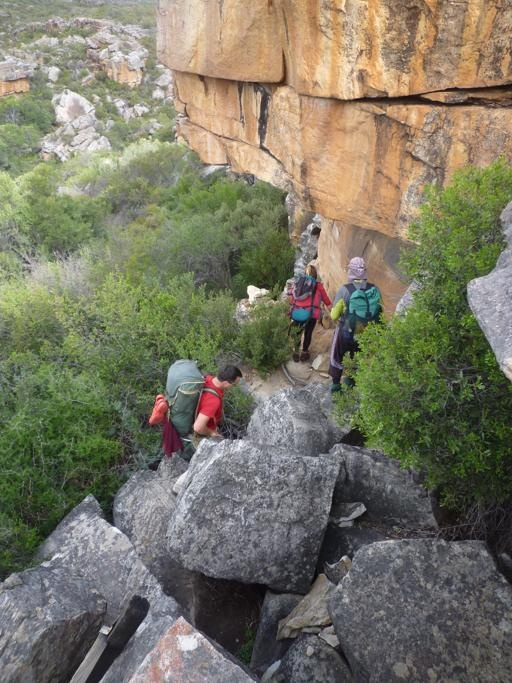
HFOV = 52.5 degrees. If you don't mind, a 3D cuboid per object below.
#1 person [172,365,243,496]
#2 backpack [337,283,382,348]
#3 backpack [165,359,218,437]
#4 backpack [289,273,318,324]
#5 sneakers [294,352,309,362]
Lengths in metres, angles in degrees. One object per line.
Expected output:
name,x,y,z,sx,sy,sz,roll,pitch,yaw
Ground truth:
person,-0.384,0.669,3.862,0.295,0.986,0.355,2,49,-26
backpack,0.969,-0.256,4.588,0.367,0.498,0.300,-9,15,-2
backpack,-0.520,0.445,4.198,0.445,0.599,0.380,-7,34,-30
backpack,0.535,-0.470,5.788,0.327,0.467,0.180,7,17,18
sneakers,0.549,0.183,6.239,0.096,0.052,0.162,2,26,10
